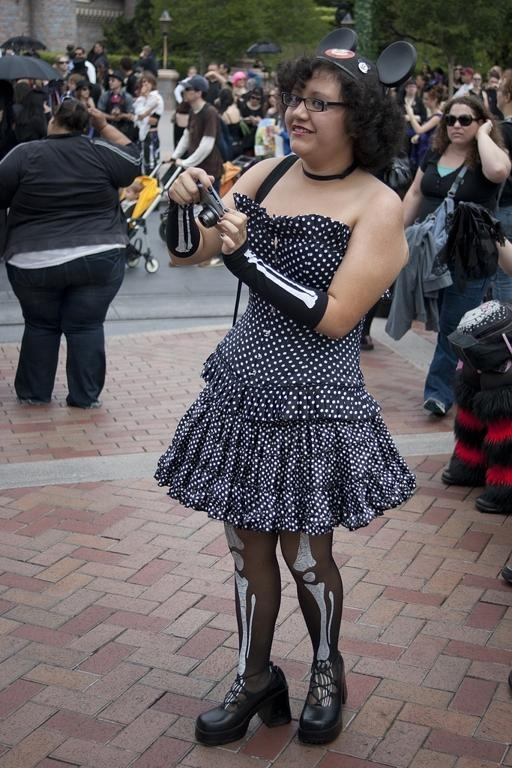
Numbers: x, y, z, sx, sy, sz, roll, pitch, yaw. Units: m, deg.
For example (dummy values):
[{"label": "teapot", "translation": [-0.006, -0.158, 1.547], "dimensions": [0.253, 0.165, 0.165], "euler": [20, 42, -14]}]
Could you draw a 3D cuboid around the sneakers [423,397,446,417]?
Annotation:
[{"label": "sneakers", "translation": [1.294, 0.169, 5.198], "dimensions": [0.098, 0.084, 0.201], "euler": [-23, -23, 3]}]

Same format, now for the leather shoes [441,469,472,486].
[{"label": "leather shoes", "translation": [1.130, 0.539, 4.097], "dimensions": [0.157, 0.064, 0.069], "euler": [19, 5, -9]}]

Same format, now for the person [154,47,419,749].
[{"label": "person", "translation": [0.079, 0.091, 1.910], "dimensions": [0.699, 1.898, 0.466], "euler": [6, 15, 11]}]

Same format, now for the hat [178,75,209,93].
[{"label": "hat", "translation": [-0.833, -4.084, 9.858], "dimensions": [0.321, 0.153, 0.194], "euler": [21, 42, -4]}]
